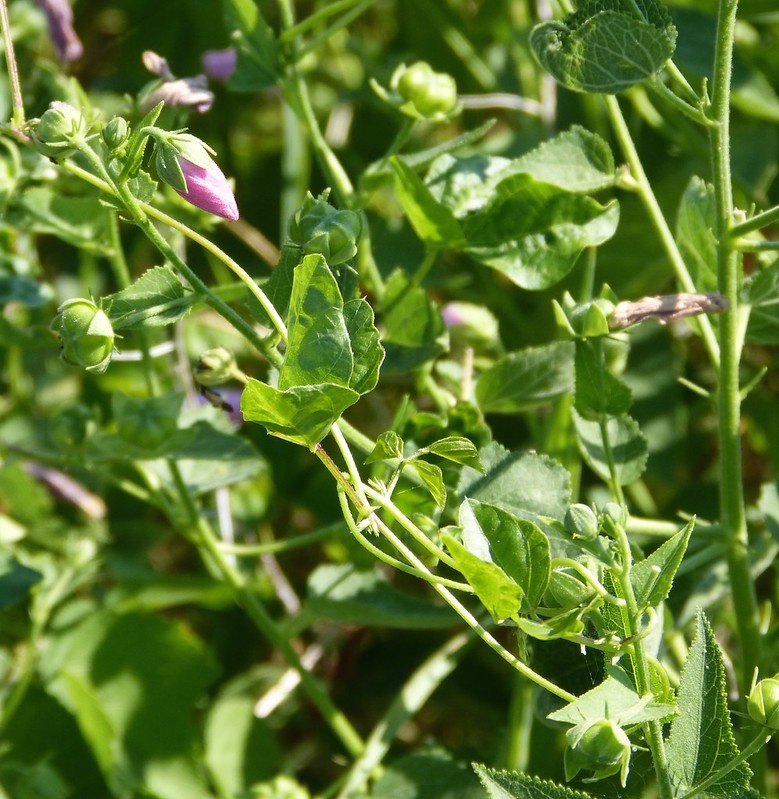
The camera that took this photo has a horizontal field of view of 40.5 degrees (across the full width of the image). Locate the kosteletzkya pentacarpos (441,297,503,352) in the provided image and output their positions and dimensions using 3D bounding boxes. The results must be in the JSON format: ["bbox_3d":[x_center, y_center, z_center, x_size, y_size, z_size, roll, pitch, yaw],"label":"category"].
[{"bbox_3d":[0.064,-0.049,0.826,0.037,0.066,0.039,-15,56,-1],"label":"kosteletzkya pentacarpos"}]
